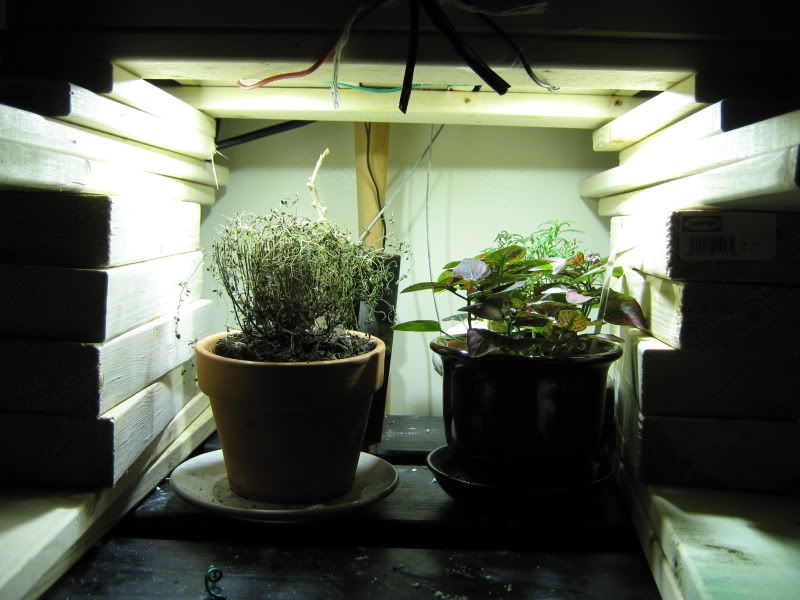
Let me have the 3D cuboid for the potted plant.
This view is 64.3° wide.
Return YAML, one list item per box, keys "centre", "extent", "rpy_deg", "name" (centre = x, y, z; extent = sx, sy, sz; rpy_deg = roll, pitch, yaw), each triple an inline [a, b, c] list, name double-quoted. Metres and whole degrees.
- centre: [-0.055, 0.087, 1.205]
  extent: [0.783, 0.424, 0.524]
  rpy_deg: [1, -1, -1]
  name: "potted plant"
